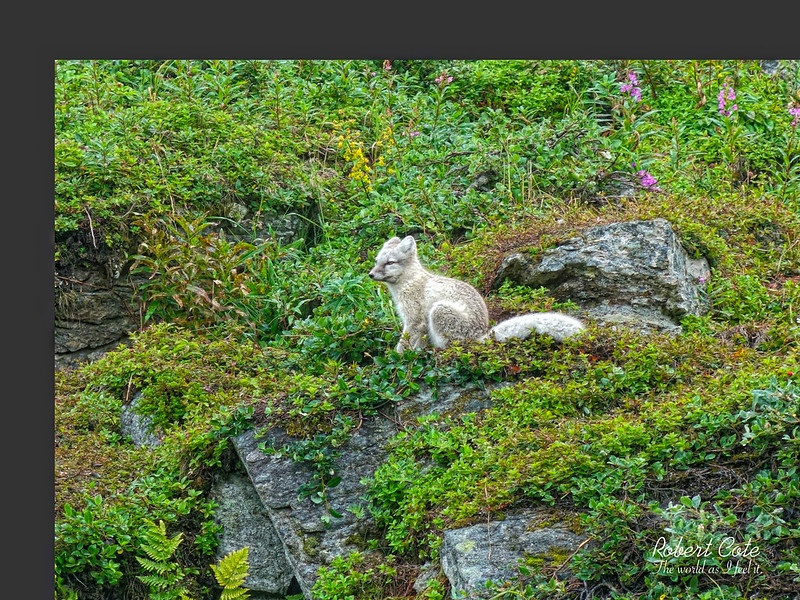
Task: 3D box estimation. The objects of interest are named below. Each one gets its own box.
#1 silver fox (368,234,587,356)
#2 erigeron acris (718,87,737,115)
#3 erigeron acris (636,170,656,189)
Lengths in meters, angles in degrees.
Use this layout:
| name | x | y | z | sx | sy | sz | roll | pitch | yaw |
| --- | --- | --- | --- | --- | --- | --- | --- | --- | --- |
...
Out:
| name | x | y | z | sx | sy | sz | roll | pitch | yaw |
| --- | --- | --- | --- | --- | --- | --- | --- | --- | --- |
| silver fox | 0.352 | -0.032 | 8.451 | 1.259 | 0.656 | 0.500 | 3 | 18 | 36 |
| erigeron acris | 2.534 | -1.529 | 10.518 | 0.143 | 0.208 | 0.386 | -4 | 13 | 14 |
| erigeron acris | 1.778 | -0.868 | 9.767 | 0.141 | 0.121 | 0.183 | -5 | 14 | 10 |
